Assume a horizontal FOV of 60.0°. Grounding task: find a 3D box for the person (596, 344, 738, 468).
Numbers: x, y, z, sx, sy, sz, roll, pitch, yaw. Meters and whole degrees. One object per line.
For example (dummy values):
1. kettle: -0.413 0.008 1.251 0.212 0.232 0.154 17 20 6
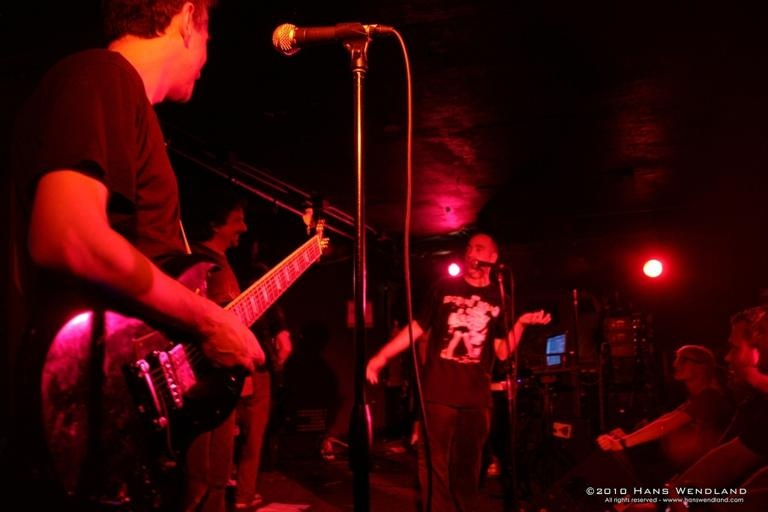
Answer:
1. person: 2.566 1.356 6.034 1.094 1.144 0.816 -8 1 20
